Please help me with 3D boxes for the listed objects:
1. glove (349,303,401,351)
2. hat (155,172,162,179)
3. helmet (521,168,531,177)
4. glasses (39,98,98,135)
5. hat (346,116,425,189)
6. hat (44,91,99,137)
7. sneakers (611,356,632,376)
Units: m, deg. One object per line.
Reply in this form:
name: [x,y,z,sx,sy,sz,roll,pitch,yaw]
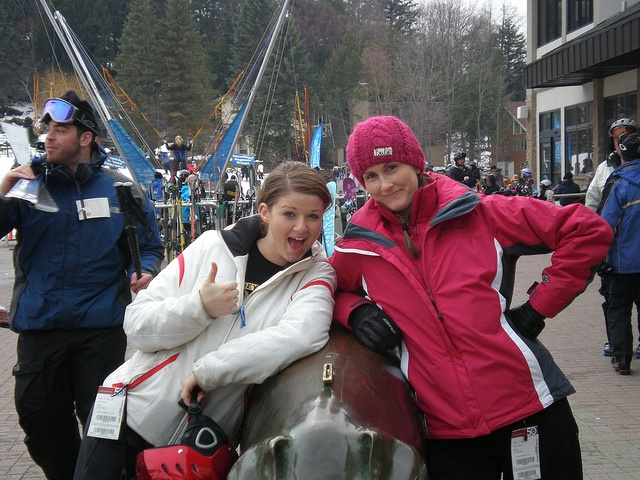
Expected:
glove: [0.255,0.417,2.685,0.111,0.184,0.231,-32,41,-19]
hat: [-3.639,-1.465,12.840,0.117,0.161,0.148,2,-10,-8]
helmet: [7.989,-2.652,22.084,0.345,0.367,0.423,-2,-3,-32]
glasses: [-1.603,-0.797,3.636,0.210,0.124,0.283,9,-14,29]
hat: [0.334,-0.446,2.828,0.294,0.269,0.351,-26,-1,6]
hat: [-1.565,-0.786,3.704,0.231,0.240,0.317,1,-15,24]
sneakers: [3.126,1.301,5.869,0.093,0.189,0.267,-1,6,6]
